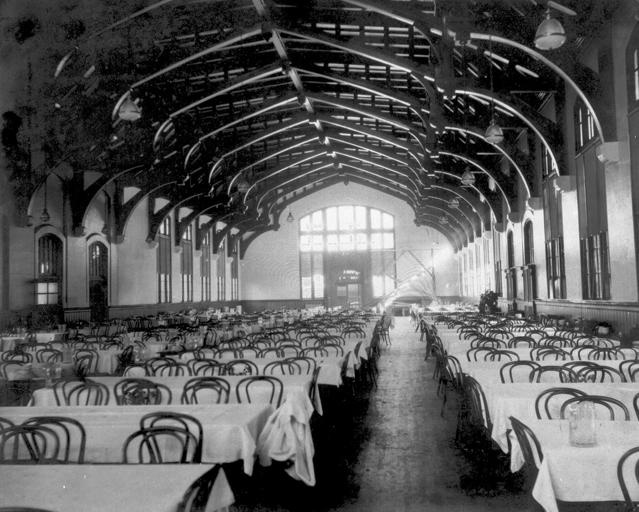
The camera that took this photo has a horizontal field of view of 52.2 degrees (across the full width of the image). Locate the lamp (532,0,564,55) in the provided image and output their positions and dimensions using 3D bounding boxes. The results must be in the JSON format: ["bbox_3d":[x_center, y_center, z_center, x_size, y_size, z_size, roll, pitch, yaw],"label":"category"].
[{"bbox_3d":[3.099,-3.097,8.675,0.349,0.591,0.459,4,1,25],"label":"lamp"}]

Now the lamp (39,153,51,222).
[{"bbox_3d":[-7.469,-1.783,17.653,0.296,1.154,1.955,3,1,-23],"label":"lamp"}]
